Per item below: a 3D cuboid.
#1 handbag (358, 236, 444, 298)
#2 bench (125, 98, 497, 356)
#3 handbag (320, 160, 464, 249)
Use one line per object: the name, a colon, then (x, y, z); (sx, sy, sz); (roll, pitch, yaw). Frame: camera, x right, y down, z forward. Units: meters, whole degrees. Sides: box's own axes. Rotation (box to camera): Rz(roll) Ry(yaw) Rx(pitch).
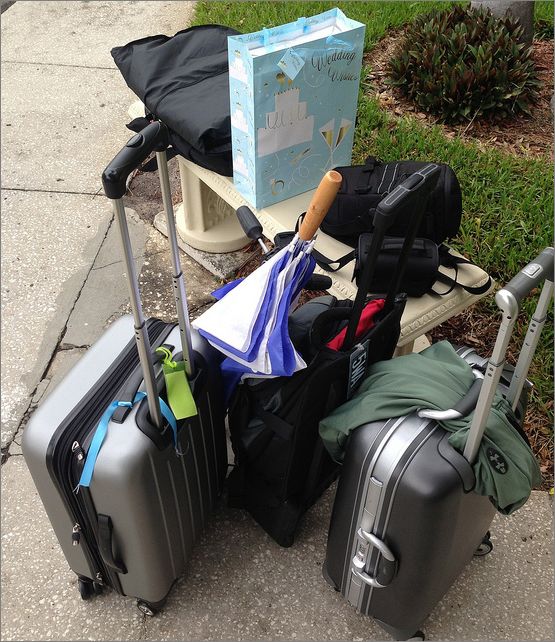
handbag: (0.353, -0.169, 1.755); (0.265, 0.180, 0.194); (8, 65, 6)
bench: (0.096, -0.300, 1.955); (1.209, 0.576, 0.536); (39, 66, 14)
handbag: (0.376, -0.383, 1.958); (0.407, 0.149, 0.275); (1, 73, 18)
